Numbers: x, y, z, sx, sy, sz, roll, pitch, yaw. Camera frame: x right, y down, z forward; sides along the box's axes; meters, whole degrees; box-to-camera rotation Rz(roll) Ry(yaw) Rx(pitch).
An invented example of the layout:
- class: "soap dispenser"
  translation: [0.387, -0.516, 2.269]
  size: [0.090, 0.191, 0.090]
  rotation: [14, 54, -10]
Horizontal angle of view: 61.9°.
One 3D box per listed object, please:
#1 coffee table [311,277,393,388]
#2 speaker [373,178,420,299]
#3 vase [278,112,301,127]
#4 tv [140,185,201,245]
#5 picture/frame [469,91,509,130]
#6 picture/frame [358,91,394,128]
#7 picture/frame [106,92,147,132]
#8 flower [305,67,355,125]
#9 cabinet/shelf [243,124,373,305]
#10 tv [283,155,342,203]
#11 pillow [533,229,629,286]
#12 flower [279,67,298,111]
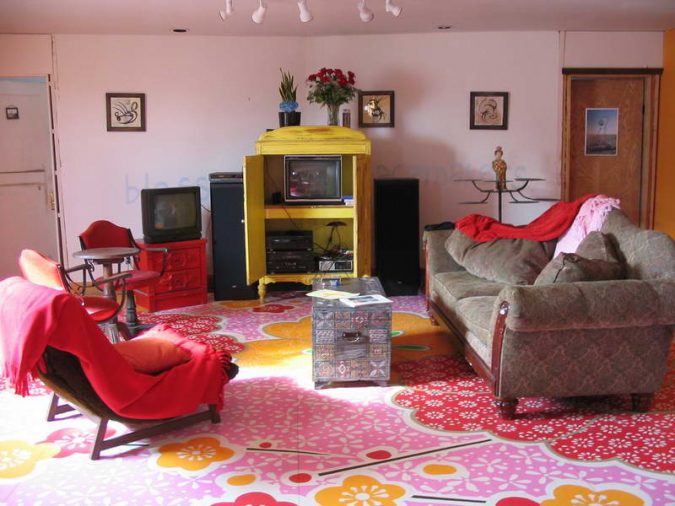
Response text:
- class: "coffee table"
  translation: [0.084, 0.500, 3.931]
  size: [0.635, 0.552, 0.991]
  rotation: [0, 6, 2]
- class: "speaker"
  translation: [0.604, -0.153, 5.821]
  size: [0.451, 1.191, 0.249]
  rotation: [-2, 15, 0]
- class: "vase"
  translation: [-0.511, -1.359, 5.775]
  size: [0.206, 0.124, 0.168]
  rotation: [0, 7, 2]
- class: "tv"
  translation: [-1.620, -0.349, 5.396]
  size: [0.614, 0.480, 0.352]
  rotation: [-6, 8, -42]
- class: "picture/frame"
  translation: [1.668, -1.597, 6.236]
  size: [0.500, 0.404, 0.030]
  rotation: [-1, 9, 1]
- class: "picture/frame"
  translation: [0.414, -1.601, 6.204]
  size: [0.493, 0.390, 0.031]
  rotation: [0, 6, 2]
- class: "picture/frame"
  translation: [-2.341, -1.539, 6.080]
  size: [0.526, 0.424, 0.033]
  rotation: [1, 2, -9]
- class: "flower"
  translation: [-0.032, -1.633, 6.012]
  size: [0.733, 0.615, 0.641]
  rotation: [-1, 13, -1]
- class: "cabinet/shelf"
  translation: [-0.317, -0.399, 5.730]
  size: [1.311, 1.739, 1.024]
  rotation: [-1, 14, 2]
- class: "tv"
  translation: [-0.222, -0.681, 5.995]
  size: [0.903, 0.596, 0.461]
  rotation: [0, 2, 0]
- class: "pillow"
  translation: [1.454, 0.074, 3.379]
  size: [0.425, 0.142, 0.405]
  rotation: [-15, 11, 29]
- class: "flower"
  translation: [-0.545, -1.719, 5.941]
  size: [0.212, 0.473, 0.594]
  rotation: [-3, 13, -4]
